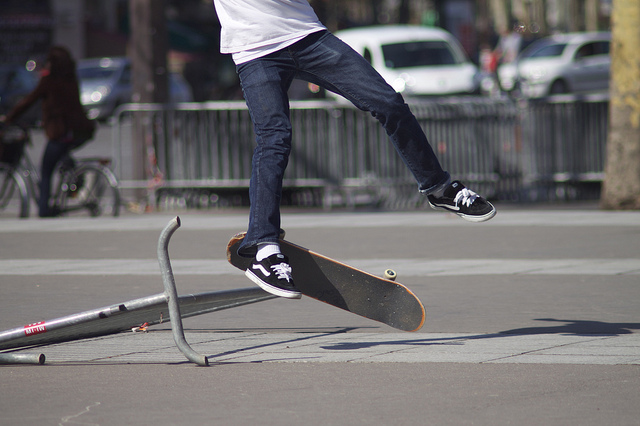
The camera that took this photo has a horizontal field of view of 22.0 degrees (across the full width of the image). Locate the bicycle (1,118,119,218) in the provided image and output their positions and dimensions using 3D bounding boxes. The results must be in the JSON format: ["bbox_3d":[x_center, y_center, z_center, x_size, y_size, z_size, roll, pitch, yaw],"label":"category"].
[{"bbox_3d":[-4.129,-0.586,26.692,2.309,1.427,1.137,2,4,-2],"label":"bicycle"}]
